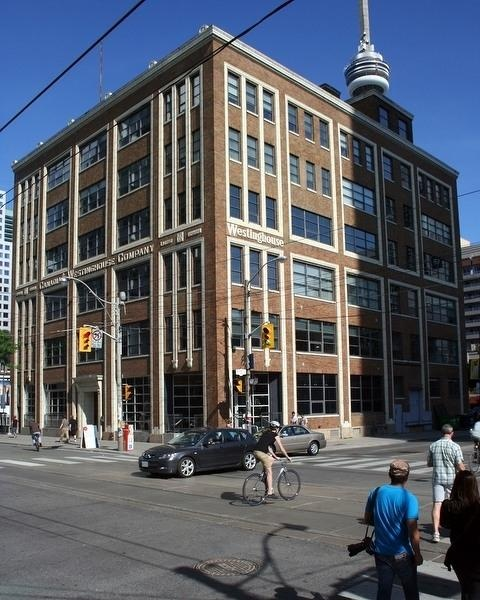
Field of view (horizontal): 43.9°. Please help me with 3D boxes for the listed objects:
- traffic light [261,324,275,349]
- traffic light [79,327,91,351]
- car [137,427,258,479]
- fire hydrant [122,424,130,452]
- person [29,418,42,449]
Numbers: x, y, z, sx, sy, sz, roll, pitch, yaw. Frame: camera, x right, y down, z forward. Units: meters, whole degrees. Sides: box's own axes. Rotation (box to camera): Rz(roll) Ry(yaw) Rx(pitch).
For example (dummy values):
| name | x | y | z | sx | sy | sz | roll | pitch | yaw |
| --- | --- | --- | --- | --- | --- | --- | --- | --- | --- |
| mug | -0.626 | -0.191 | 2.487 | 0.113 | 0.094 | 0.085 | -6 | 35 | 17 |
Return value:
| name | x | y | z | sx | sy | sz | roll | pitch | yaw |
| --- | --- | --- | --- | --- | --- | --- | --- | --- | --- |
| traffic light | 1.343 | 1.714 | 28.198 | 0.499 | 1.164 | 1.511 | -3 | -13 | 8 |
| traffic light | -7.485 | 1.902 | 29.075 | 0.538 | 1.256 | 1.418 | 1 | -13 | -13 |
| car | -1.222 | 4.669 | 18.712 | 3.636 | 1.218 | 1.607 | 10 | -16 | -40 |
| fire hydrant | -5.520 | 6.830 | 29.166 | 0.300 | 1.238 | 0.484 | 1 | -13 | -13 |
| person | -10.253 | 6.867 | 30.044 | 0.498 | 1.494 | 1.522 | 3 | -14 | -19 |
